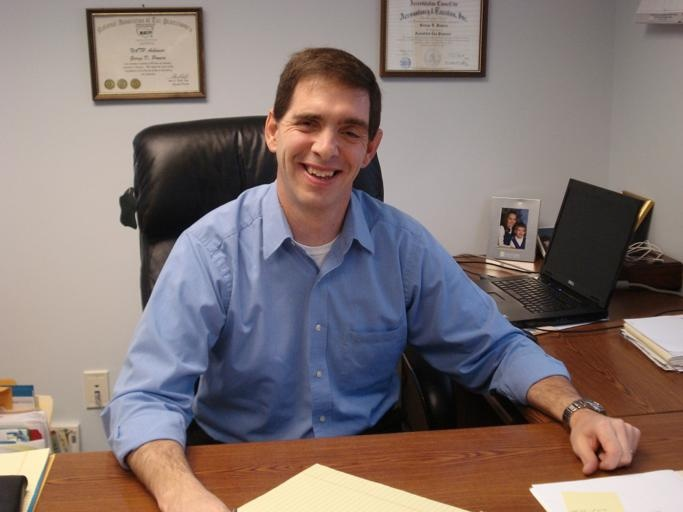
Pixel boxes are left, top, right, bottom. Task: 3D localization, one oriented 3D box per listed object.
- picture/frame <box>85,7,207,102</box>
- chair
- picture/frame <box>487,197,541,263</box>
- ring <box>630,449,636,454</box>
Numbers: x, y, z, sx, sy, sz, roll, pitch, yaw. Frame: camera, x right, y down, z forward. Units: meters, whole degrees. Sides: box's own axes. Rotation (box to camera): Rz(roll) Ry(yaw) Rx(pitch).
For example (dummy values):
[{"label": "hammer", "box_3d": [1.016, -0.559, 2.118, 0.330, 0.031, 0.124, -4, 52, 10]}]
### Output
[{"label": "picture/frame", "box_3d": [-0.839, -0.871, 2.233, 0.327, 0.293, 0.025, -1, 8, -3]}, {"label": "chair", "box_3d": [-0.098, 0.067, 1.829, 0.802, 1.277, 0.970, -3, 1, -9]}, {"label": "picture/frame", "box_3d": [0.751, -0.118, 2.320, 0.195, 0.301, 0.020, 4, 32, 14]}, {"label": "ring", "box_3d": [0.581, 0.393, 1.058, 0.008, 0.013, 0.003, 9, -2, -44]}]
